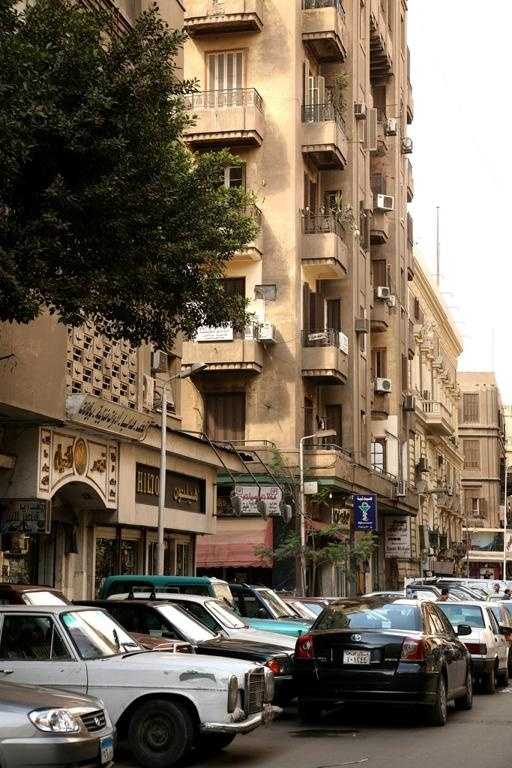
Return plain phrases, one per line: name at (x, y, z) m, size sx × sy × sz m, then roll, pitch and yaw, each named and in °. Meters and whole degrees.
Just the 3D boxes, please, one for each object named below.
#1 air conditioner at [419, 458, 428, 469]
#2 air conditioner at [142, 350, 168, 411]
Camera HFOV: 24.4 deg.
air conditioner at (8.470, 4.221, 60.108) m, size 0.348 × 0.647 × 0.790 m, roll 0°, pitch -7°, yaw 5°
air conditioner at (-2.341, -0.059, 26.637) m, size 0.380 × 1.766 × 1.073 m, roll -1°, pitch -6°, yaw 12°
